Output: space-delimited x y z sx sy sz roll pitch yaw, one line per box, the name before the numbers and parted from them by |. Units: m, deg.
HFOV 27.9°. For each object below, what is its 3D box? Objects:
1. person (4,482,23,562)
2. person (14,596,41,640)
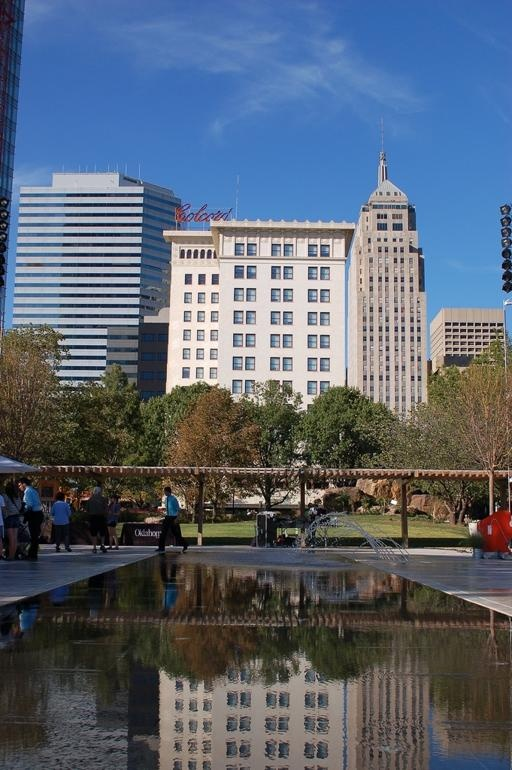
person | -5.072 2.840 21.333 0.347 1.561 2.677 3 -9 -13
person | -2.409 2.419 10.753 0.261 0.303 1.164 2 -9 -6
